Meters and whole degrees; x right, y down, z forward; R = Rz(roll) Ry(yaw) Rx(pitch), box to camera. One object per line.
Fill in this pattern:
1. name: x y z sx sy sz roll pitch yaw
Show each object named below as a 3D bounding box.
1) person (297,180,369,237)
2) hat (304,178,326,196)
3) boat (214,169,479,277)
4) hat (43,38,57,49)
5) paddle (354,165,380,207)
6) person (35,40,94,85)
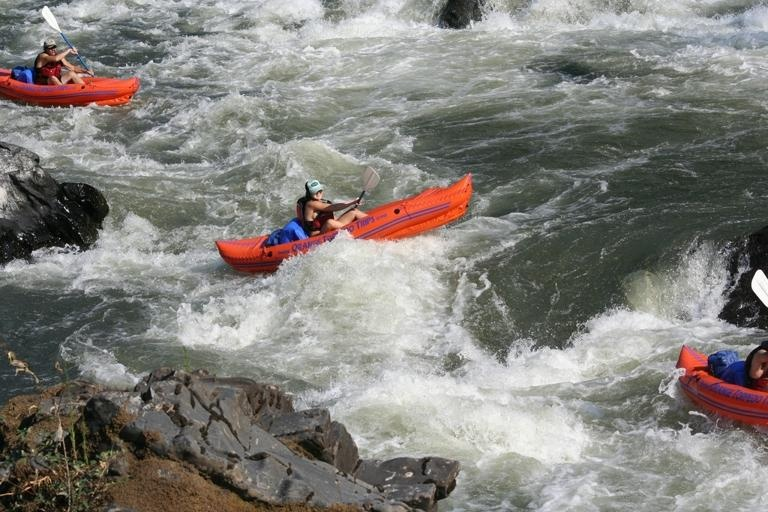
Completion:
1. person: -0.833 -0.835 21.071 1.770 0.836 0.625 5 14 9
2. hat: -1.361 -1.340 20.982 0.367 0.266 0.529 -12 9 -21
3. boat: -0.180 -0.650 21.088 6.059 1.128 1.687 -12 17 9
4. hat: -8.004 -5.091 25.880 0.262 0.242 0.436 -6 34 -11
5. paddle: -0.293 -1.357 21.458 0.164 1.014 0.329 -12 48 -46
6. person: -7.940 -4.767 26.473 1.704 1.025 1.018 5 30 -2
